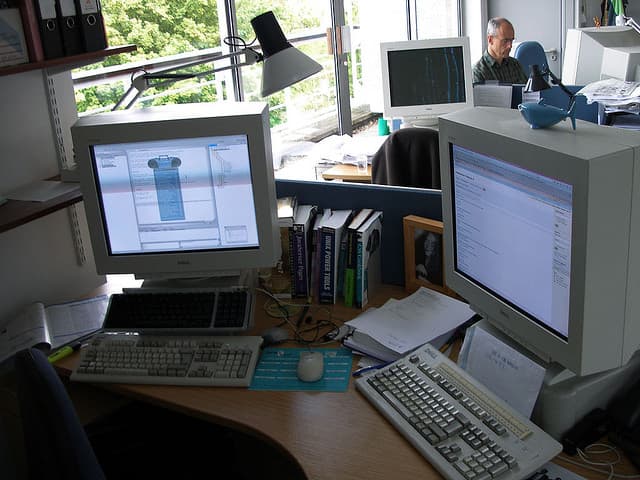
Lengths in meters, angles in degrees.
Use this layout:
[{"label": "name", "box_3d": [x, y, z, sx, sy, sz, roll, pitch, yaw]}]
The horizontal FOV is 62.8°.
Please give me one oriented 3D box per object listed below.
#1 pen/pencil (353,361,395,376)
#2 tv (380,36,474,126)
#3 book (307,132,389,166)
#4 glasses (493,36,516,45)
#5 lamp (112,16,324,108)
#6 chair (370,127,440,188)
[{"label": "pen/pencil", "box_3d": [0.154, 0.366, 1.483, 0.113, 0.016, 0.020, -13, 43, 6]}, {"label": "tv", "box_3d": [0.682, -1.040, 3.364, 0.560, 0.456, 0.122, -7, 23, -2]}, {"label": "book", "box_3d": [0.159, -0.573, 3.347, 0.315, 0.095, 0.318, 5, 31, 21]}, {"label": "glasses", "box_3d": [1.507, -1.600, 4.231, 0.202, 0.070, 0.083, -25, 30, -37]}, {"label": "lamp", "box_3d": [-0.404, -0.677, 1.966, 0.668, 0.281, 0.575, -18, 26, -26]}, {"label": "chair", "box_3d": [0.493, -0.405, 2.896, 0.400, 0.408, 0.330, 3, 35, 12]}]
